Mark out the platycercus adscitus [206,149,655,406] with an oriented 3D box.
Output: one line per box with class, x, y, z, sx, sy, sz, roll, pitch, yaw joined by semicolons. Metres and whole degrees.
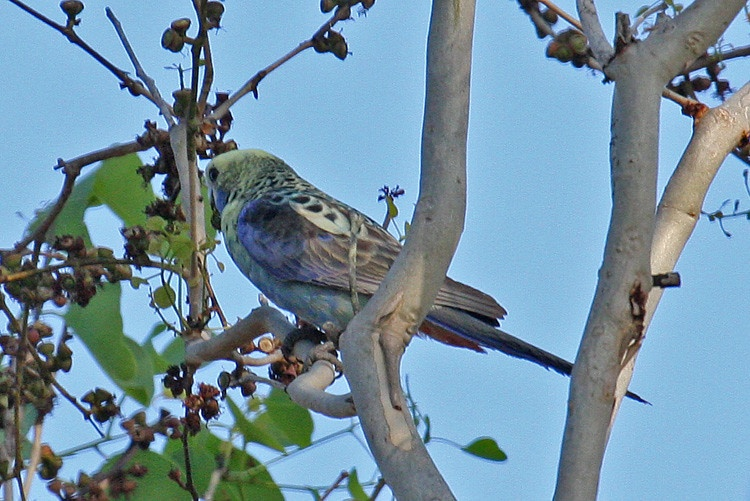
platycercus adscitus;0.123;0.182;7.177;1.902;0.468;0.808;11;-43;35
